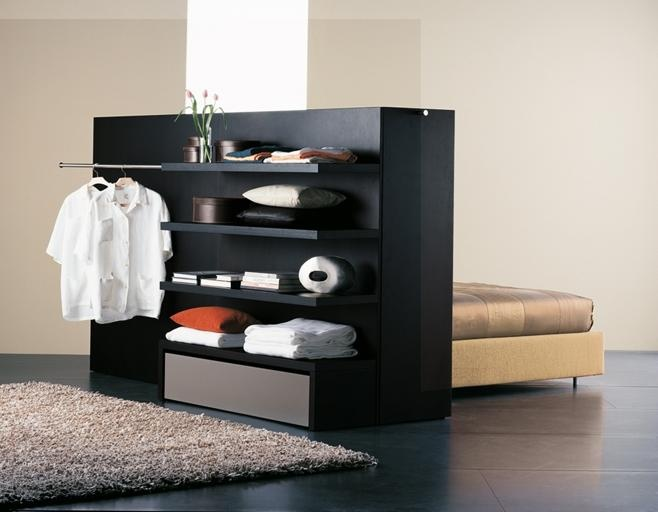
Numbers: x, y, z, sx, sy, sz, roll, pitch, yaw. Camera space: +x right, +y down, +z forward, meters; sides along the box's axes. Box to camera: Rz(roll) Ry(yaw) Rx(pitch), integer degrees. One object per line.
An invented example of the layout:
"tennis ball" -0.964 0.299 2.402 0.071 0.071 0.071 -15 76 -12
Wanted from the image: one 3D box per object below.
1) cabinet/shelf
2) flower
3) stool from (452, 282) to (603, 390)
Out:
"cabinet/shelf" -0.341 -0.014 3.926 1.990 1.861 0.795 1 -2 35
"flower" -0.846 -0.891 4.223 0.375 0.409 0.343 -4 15 -24
"stool" 1.330 0.562 4.317 0.830 0.464 1.123 0 -1 -33
